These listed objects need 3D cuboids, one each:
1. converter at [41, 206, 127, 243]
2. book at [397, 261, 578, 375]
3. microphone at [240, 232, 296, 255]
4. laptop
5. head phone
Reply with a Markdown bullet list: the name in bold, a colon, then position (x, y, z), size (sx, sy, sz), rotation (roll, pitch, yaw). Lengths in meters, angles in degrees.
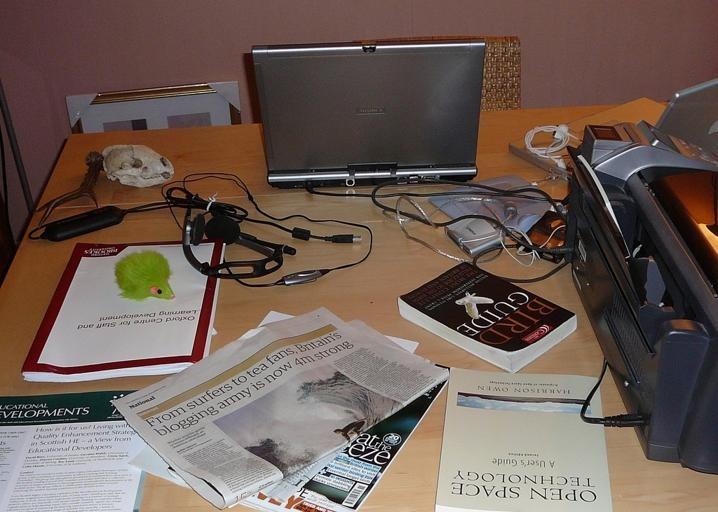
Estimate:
- **converter**: position (-0.652, -0.077, 1.335), size (0.225, 0.054, 0.073), rotation (-19, 44, -23)
- **book**: position (0.247, 0.112, 1.095), size (0.305, 0.046, 0.192), rotation (29, 48, 25)
- **microphone**: position (-0.209, -0.025, 1.266), size (0.084, 0.024, 0.062), rotation (9, 21, -11)
- **laptop**: position (0.024, -0.351, 1.363), size (0.520, 0.339, 0.359), rotation (-1, 38, -1)
- **head phone**: position (-0.285, -0.019, 1.211), size (0.166, 0.078, 0.228), rotation (-8, 36, -38)
